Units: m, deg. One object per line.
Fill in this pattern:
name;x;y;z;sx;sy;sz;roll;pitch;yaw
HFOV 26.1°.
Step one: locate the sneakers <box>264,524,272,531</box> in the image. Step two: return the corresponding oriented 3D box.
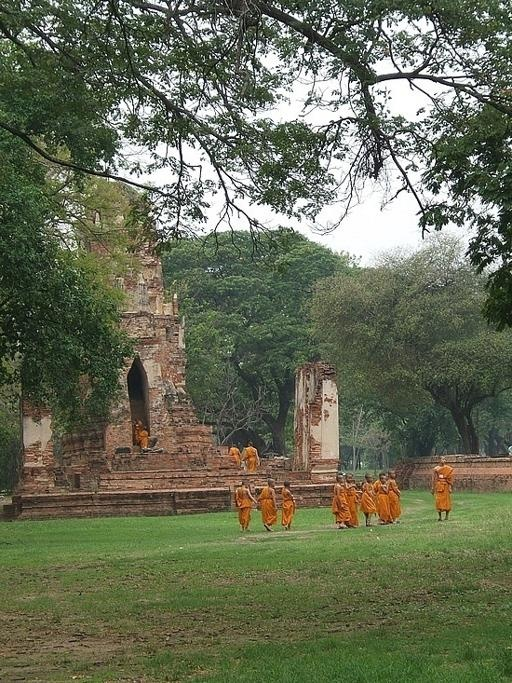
sneakers;0.217;3.391;20.191;0.063;0.137;0.044;-27;34;-24
